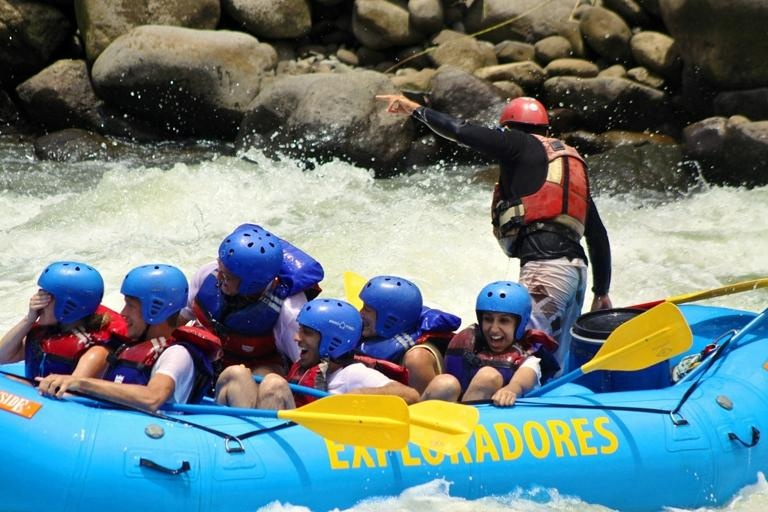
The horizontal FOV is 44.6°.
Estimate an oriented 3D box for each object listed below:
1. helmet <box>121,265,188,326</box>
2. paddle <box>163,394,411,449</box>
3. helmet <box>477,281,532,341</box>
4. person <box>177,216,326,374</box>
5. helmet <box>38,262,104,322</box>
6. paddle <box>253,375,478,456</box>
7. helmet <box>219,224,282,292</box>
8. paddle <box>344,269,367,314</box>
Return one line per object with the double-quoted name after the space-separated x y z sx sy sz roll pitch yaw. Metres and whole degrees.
-1.684 0.288 6.913 0.469 0.383 0.366 6 0 -17 "helmet"
-0.506 1.113 6.611 1.380 0.391 0.177 7 21 3 "paddle"
0.994 0.451 7.423 0.358 0.447 0.478 -5 -16 27 "helmet"
-1.120 0.362 7.788 0.682 0.705 0.910 -30 -10 -29 "person"
-2.327 0.256 7.193 0.488 0.413 0.380 14 6 -10 "helmet"
-0.073 1.160 6.746 1.802 0.525 0.219 11 1 11 "paddle"
-1.145 0.030 7.592 0.542 0.407 0.425 -18 30 55 "helmet"
-0.248 0.295 7.994 0.199 0.312 0.089 8 -17 -17 "paddle"
